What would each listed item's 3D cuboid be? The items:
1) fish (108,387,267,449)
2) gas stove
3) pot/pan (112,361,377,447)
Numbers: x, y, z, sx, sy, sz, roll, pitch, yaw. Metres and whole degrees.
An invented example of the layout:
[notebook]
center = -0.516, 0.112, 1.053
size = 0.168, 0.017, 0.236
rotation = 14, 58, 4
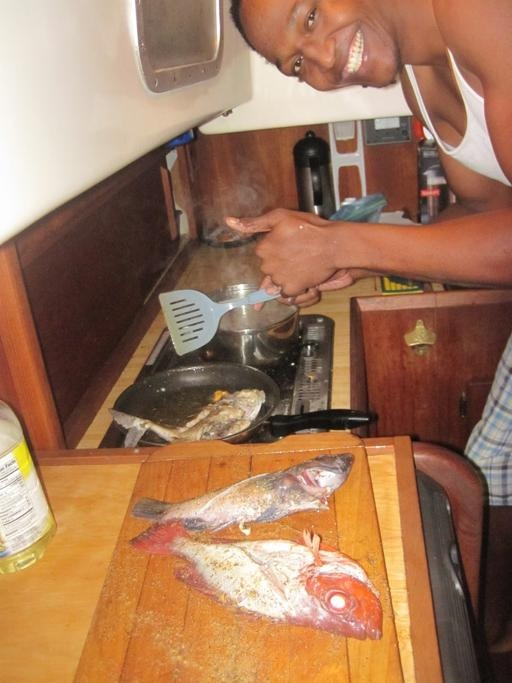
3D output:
[fish]
center = -0.097, 0.141, 0.905
size = 0.187, 0.028, 0.117
rotation = -18, 31, -22
[gas stove]
center = -0.046, 0.102, 1.088
size = 0.292, 0.034, 0.318
rotation = -4, 31, 7
[pot/pan]
center = -0.057, 0.104, 1.000
size = 0.330, 0.038, 0.199
rotation = 1, 26, 4
